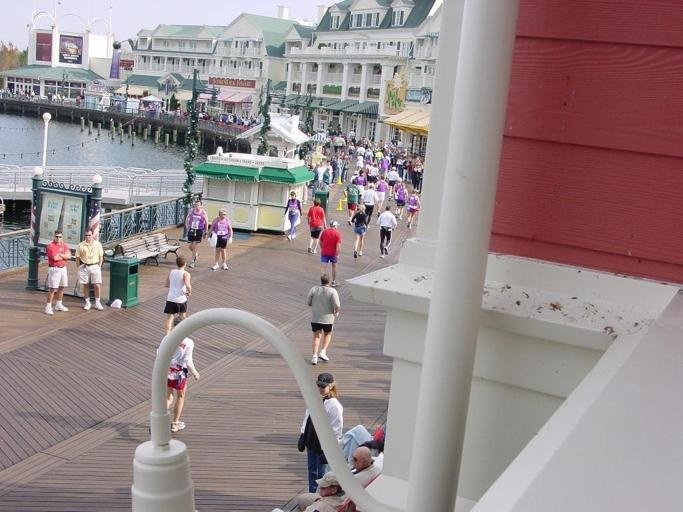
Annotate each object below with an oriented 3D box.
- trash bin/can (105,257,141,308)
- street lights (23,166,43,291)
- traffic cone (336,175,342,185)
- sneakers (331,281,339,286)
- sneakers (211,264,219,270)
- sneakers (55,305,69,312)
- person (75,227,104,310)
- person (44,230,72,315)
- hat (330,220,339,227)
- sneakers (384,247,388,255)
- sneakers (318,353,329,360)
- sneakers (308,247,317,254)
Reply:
[{"bbox_3d":[-4.183,0.499,15.511,0.556,0.909,0.476,0,13,-18],"label":"trash bin/can"},{"bbox_3d":[-6.175,-0.483,16.217,0.265,2.163,0.836,0,13,-20],"label":"street lights"},{"bbox_3d":[-0.066,-3.647,39.231,0.362,0.427,0.383,2,3,-7],"label":"traffic cone"},{"bbox_3d":[-0.161,0.633,18.586,0.068,0.091,0.208,4,16,20],"label":"sneakers"},{"bbox_3d":[-3.024,0.239,19.284,0.173,0.119,0.302,3,13,-10],"label":"sneakers"},{"bbox_3d":[-5.141,0.940,14.873,0.278,0.128,0.105,5,7,20],"label":"sneakers"},{"bbox_3d":[-4.681,0.223,14.977,0.488,1.571,0.967,1,13,-17],"label":"person"},{"bbox_3d":[-5.301,0.229,15.018,0.443,1.588,1.352,0,13,-19],"label":"person"},{"bbox_3d":[-0.175,-0.684,17.448,0.145,0.108,0.204,6,30,13],"label":"hat"},{"bbox_3d":[1.187,-0.138,21.667,0.073,0.203,0.079,-1,19,2],"label":"sneakers"},{"bbox_3d":[-0.297,1.674,13.418,0.070,0.198,0.091,-18,42,27],"label":"sneakers"},{"bbox_3d":[-0.795,-0.161,22.072,0.098,0.147,0.333,7,17,17],"label":"sneakers"}]
